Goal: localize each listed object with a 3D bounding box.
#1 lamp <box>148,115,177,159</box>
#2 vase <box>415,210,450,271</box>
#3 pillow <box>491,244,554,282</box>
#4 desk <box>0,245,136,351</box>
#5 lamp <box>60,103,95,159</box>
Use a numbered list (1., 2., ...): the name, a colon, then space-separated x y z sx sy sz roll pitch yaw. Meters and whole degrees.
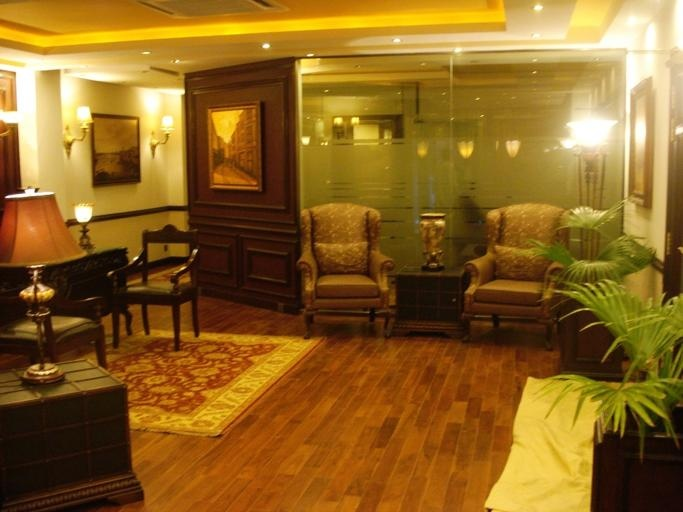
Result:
1. lamp: -3.267 -2.182 9.846 0.510 0.717 0.297 -17 28 -30
2. vase: 1.074 -0.170 6.336 0.268 0.652 0.253 0 11 6
3. pillow: 2.015 0.087 5.933 0.535 0.263 0.152 5 2 27
4. desk: -2.508 0.412 4.917 0.458 0.607 1.227 4 8 20
5. lamp: -3.860 -1.838 7.918 0.523 0.617 0.334 -14 20 -10
